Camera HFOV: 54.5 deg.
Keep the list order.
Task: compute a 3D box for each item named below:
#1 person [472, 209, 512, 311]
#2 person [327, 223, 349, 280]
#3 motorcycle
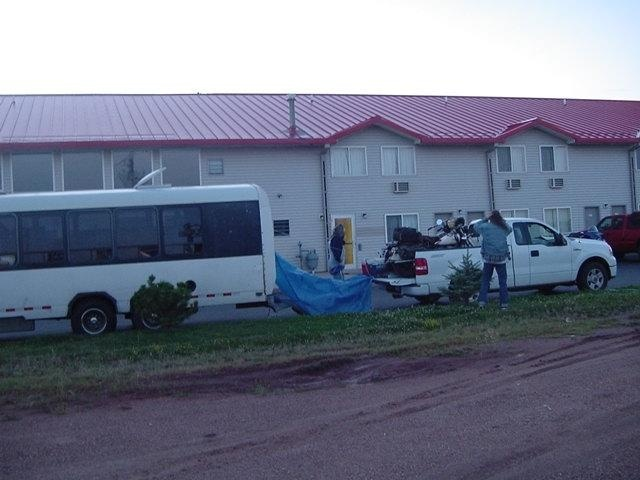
[{"bbox_3d":[3.884,0.449,14.111,0.747,2.129,1.171,0,8,16],"label":"person"},{"bbox_3d":[0.449,0.381,17.416,0.412,1.518,0.865,-2,8,0],"label":"person"},{"bbox_3d":[2.605,0.083,15.638,2.053,1.316,1.325,-12,6,-20],"label":"motorcycle"}]
